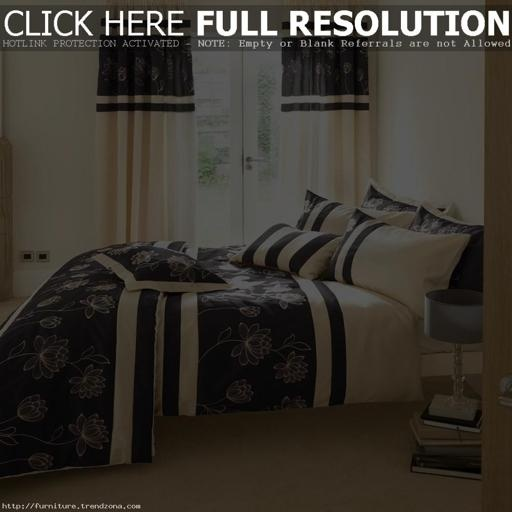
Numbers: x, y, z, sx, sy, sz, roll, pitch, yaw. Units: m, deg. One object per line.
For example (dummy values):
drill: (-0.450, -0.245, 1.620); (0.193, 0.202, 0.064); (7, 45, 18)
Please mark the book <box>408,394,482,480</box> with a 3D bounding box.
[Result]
book: (0.671, 0.633, 1.844); (0.246, 0.098, 0.265); (-1, 3, 7)
